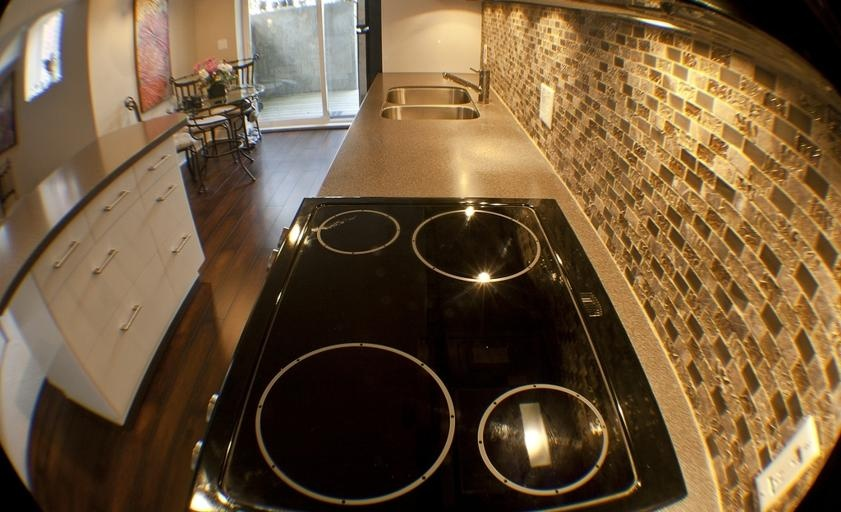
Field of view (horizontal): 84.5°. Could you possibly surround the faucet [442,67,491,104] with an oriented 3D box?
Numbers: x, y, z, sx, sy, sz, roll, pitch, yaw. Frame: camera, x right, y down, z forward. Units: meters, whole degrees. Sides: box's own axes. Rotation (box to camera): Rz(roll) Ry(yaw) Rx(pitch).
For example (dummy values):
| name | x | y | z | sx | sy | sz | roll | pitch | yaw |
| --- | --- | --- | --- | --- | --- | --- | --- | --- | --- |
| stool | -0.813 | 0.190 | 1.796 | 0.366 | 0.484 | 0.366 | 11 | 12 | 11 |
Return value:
| name | x | y | z | sx | sy | sz | roll | pitch | yaw |
| --- | --- | --- | --- | --- | --- | --- | --- | --- | --- |
| faucet | 0.247 | -0.920 | 2.436 | 0.076 | 0.171 | 0.438 | -19 | 37 | -23 |
